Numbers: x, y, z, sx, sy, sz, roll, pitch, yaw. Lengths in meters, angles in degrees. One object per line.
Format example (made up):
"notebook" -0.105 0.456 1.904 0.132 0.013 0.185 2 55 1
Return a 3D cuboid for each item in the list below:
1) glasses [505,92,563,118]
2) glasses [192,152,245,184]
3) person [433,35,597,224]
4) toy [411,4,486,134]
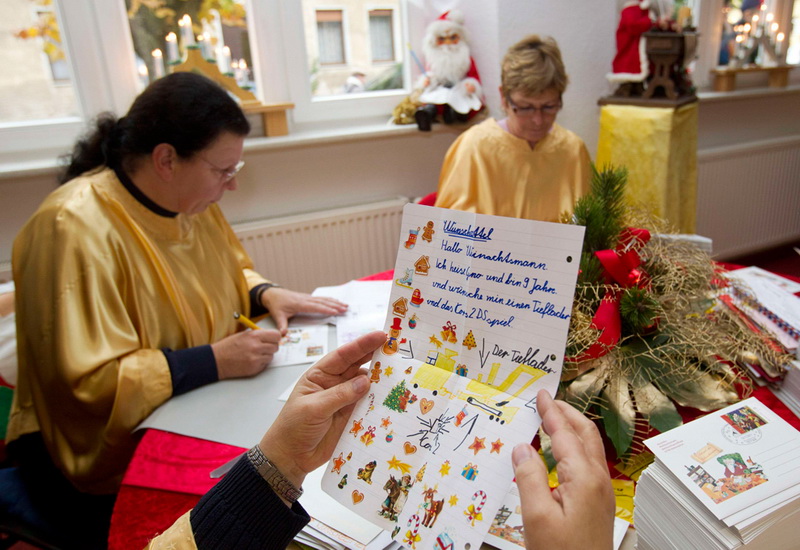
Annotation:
"glasses" 0.599 -0.771 2.358 0.248 0.113 0.134 -1 22 10
"glasses" -0.603 -0.364 1.740 0.107 0.033 0.105 30 18 14
"person" 0.627 -0.663 2.539 0.858 0.878 0.473 -6 29 -7
"toy" 0.262 -1.195 3.019 0.390 0.622 0.370 -9 32 -7
